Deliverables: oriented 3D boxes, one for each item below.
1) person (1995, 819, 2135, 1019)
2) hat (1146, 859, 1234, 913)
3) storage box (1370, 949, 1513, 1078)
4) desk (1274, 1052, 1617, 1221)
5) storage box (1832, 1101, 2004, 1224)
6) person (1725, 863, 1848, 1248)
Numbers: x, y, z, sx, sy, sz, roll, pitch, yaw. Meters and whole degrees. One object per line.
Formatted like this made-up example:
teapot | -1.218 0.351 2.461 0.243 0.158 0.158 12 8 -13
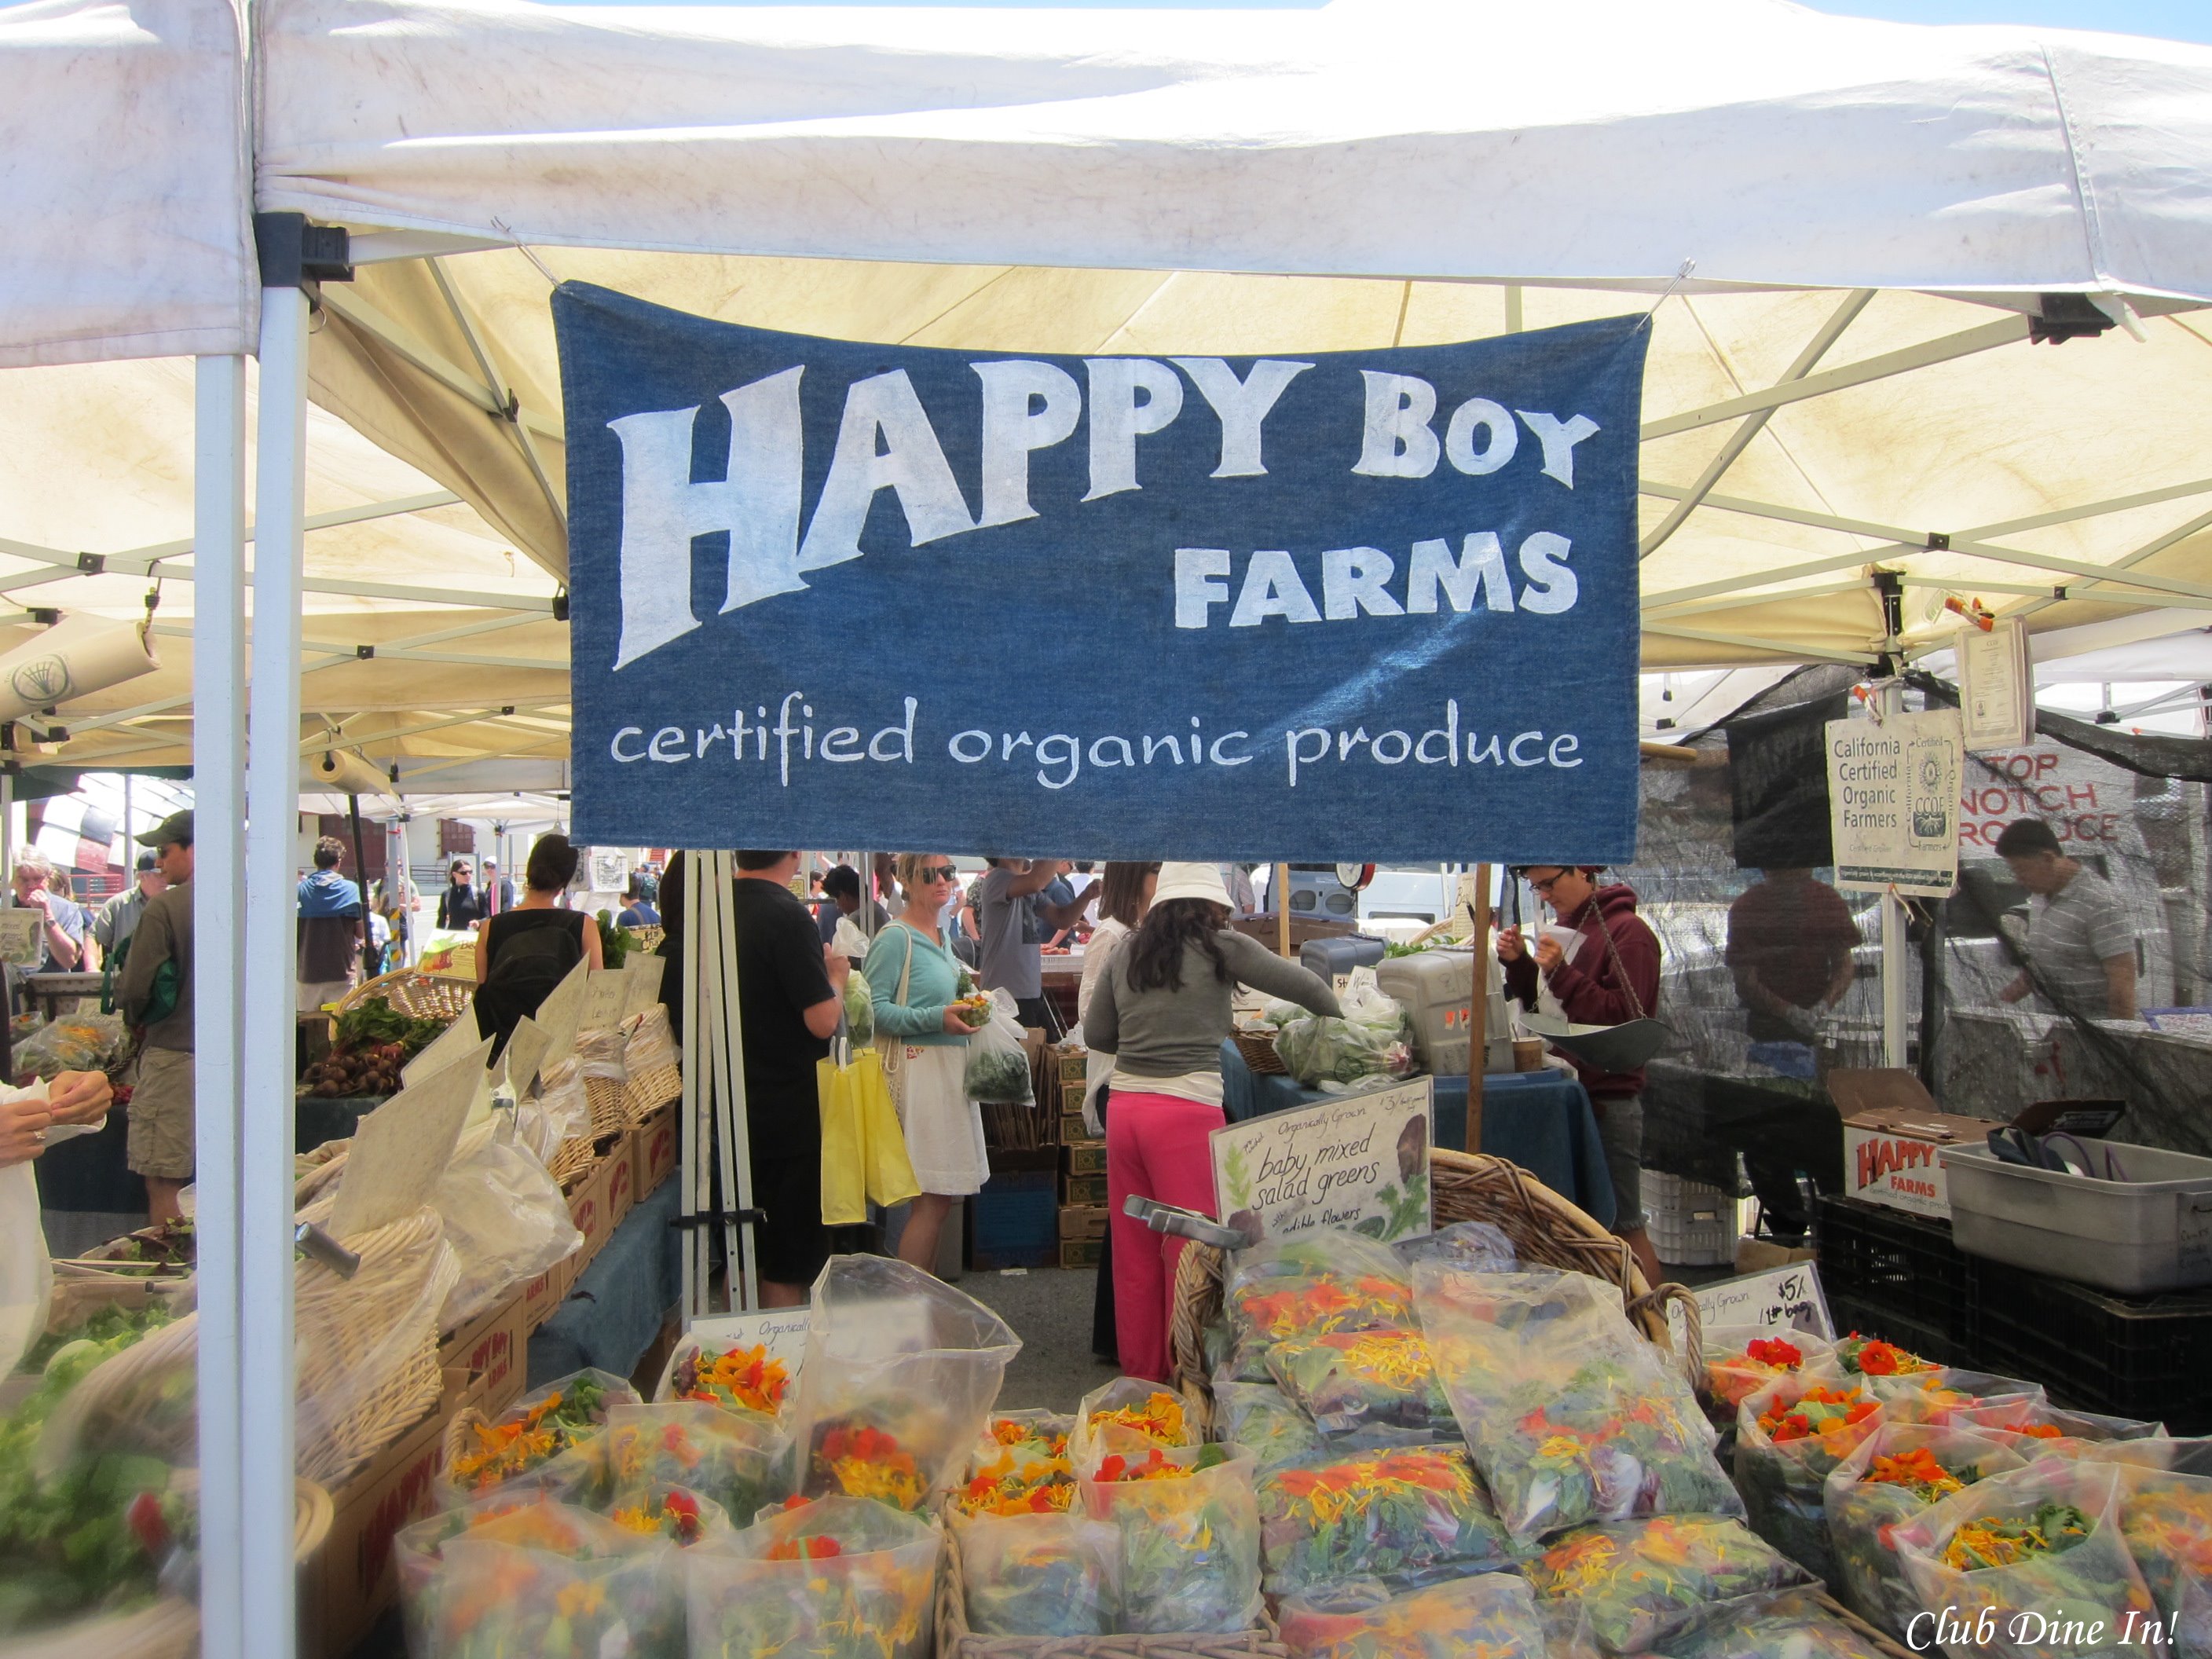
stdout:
person | 3.561 0.323 6.762 0.421 0.788 0.233 -2 -1 24
hat | 0.301 0.186 5.992 0.216 0.104 0.162 5 -12 -22
storage box | 1.213 0.637 6.552 0.595 0.484 0.452 2 -8 -30
desk | 1.399 1.039 6.471 0.715 0.453 0.738 0 -10 -3
storage box | 2.300 0.932 5.172 0.245 0.285 0.461 0 0 -21
person | 2.589 0.790 6.852 0.488 1.544 1.170 -2 -1 20
